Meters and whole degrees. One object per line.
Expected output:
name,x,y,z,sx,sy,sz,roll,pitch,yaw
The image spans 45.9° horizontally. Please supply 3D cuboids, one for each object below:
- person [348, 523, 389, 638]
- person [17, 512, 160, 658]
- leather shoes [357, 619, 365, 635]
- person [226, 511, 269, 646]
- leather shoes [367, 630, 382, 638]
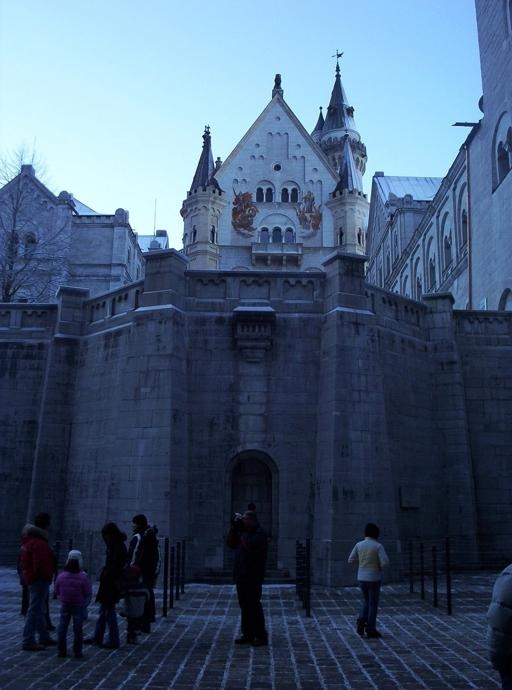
person,1.552,3.215,8.323,0.496,1.422,0.819,-3,-15,10
person,-2.153,2.846,7.208,1.373,1.539,0.968,-11,-18,35
leather shoes,1.387,3.735,8.000,0.102,0.201,0.186,-3,-15,9
person,-0.100,2.857,7.414,0.488,1.547,0.657,0,-15,0
leather shoes,1.549,3.770,7.886,0.132,0.083,0.274,-11,-18,34
